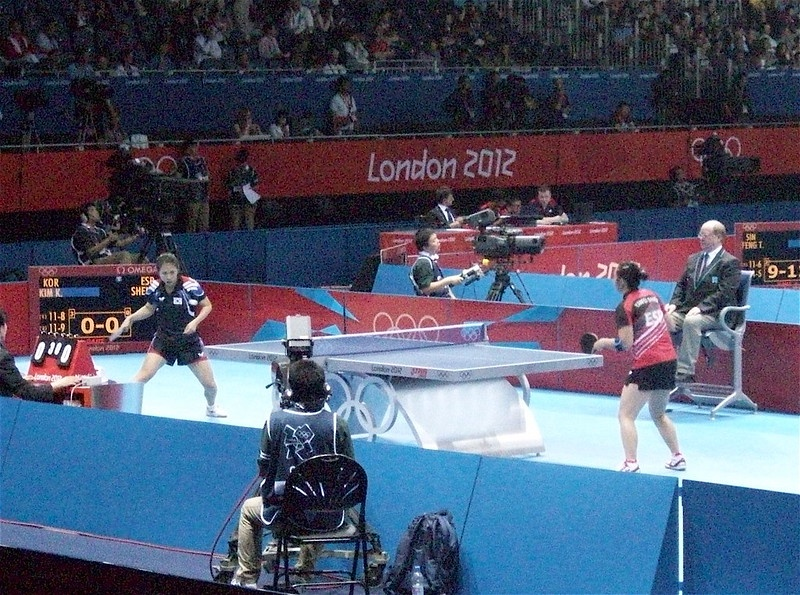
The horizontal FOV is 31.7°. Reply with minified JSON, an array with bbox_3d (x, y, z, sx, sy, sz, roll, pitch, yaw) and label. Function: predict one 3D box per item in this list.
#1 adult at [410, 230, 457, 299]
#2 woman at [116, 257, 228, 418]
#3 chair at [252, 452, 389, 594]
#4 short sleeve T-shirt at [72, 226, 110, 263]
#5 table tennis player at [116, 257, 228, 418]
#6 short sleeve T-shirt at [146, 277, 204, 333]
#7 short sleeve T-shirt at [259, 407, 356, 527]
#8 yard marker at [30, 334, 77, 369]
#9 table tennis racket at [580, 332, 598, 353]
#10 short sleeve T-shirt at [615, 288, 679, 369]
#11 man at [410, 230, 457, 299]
[{"bbox_3d":[0.380,-0.457,17.404,0.498,0.862,0.611,-11,14,-35],"label":"adult"},{"bbox_3d":[-2.639,0.462,16.103,1.198,2.074,0.707,-2,19,-10],"label":"woman"},{"bbox_3d":[-0.626,1.899,12.645,0.966,1.679,1.180,0,9,-8],"label":"chair"},{"bbox_3d":[-4.395,-0.782,20.446,0.433,0.717,0.586,4,10,28],"label":"short sleeve T-shirt"},{"bbox_3d":[-2.645,0.479,16.118,1.197,2.055,0.702,-1,20,-8],"label":"table tennis player"},{"bbox_3d":[-2.515,0.043,16.251,0.757,0.924,0.509,1,1,2],"label":"short sleeve T-shirt"},{"bbox_3d":[-0.796,1.480,12.131,0.751,1.079,0.533,2,8,2],"label":"short sleeve T-shirt"},{"bbox_3d":[-3.670,0.547,15.077,0.357,0.420,0.094,9,-10,21],"label":"yard marker"},{"bbox_3d":[1.947,0.467,14.364,0.043,0.212,0.192,-12,37,-39],"label":"table tennis racket"},{"bbox_3d":[2.541,0.319,14.473,0.683,0.958,0.465,-9,3,-19],"label":"short sleeve T-shirt"},{"bbox_3d":[0.418,-0.459,17.405,0.489,0.862,0.553,-6,12,-16],"label":"man"}]
